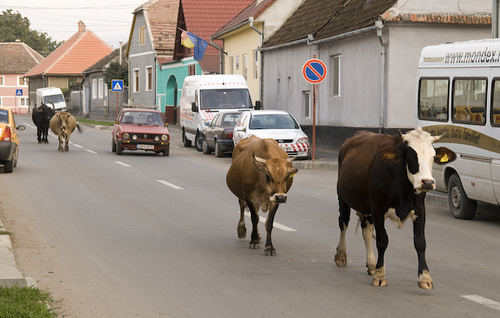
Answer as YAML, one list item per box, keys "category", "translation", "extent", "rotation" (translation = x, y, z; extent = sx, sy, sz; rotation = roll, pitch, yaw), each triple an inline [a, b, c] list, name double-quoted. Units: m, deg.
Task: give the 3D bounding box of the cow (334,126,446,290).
- category: "cow"
  translation: [2.333, 0.810, 9.355]
  extent: [1.004, 2.635, 3.879]
  rotation: [-2, 1, -8]

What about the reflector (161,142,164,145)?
- category: "reflector"
  translation: [-4.395, -0.743, 27.070]
  extent: [0.122, 0.150, 0.139]
  rotation: [2, -4, 0]

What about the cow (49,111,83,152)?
- category: "cow"
  translation: [-10.260, -1.508, 29.713]
  extent: [1.310, 2.053, 3.469]
  rotation: [0, 5, -20]

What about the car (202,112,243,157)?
- category: "car"
  translation: [-1.424, -1.349, 27.921]
  extent: [1.160, 1.412, 2.759]
  rotation: [-1, 9, -15]

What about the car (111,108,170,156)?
- category: "car"
  translation: [-5.553, -1.305, 27.824]
  extent: [2.772, 2.300, 1.948]
  rotation: [1, 4, -7]

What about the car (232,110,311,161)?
- category: "car"
  translation: [1.114, -1.300, 24.562]
  extent: [1.849, 1.829, 3.385]
  rotation: [0, -1, -11]

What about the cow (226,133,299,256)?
- category: "cow"
  translation: [0.224, 0.731, 10.798]
  extent: [0.968, 2.164, 2.637]
  rotation: [0, 5, -14]

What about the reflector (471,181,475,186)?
- category: "reflector"
  translation: [5.526, 0.625, 13.327]
  extent: [0.008, 0.108, 0.115]
  rotation: [0, 5, -21]

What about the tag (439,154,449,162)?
- category: "tag"
  translation: [3.162, 0.011, 8.725]
  extent: [0.049, 0.154, 0.067]
  rotation: [27, 34, 31]
